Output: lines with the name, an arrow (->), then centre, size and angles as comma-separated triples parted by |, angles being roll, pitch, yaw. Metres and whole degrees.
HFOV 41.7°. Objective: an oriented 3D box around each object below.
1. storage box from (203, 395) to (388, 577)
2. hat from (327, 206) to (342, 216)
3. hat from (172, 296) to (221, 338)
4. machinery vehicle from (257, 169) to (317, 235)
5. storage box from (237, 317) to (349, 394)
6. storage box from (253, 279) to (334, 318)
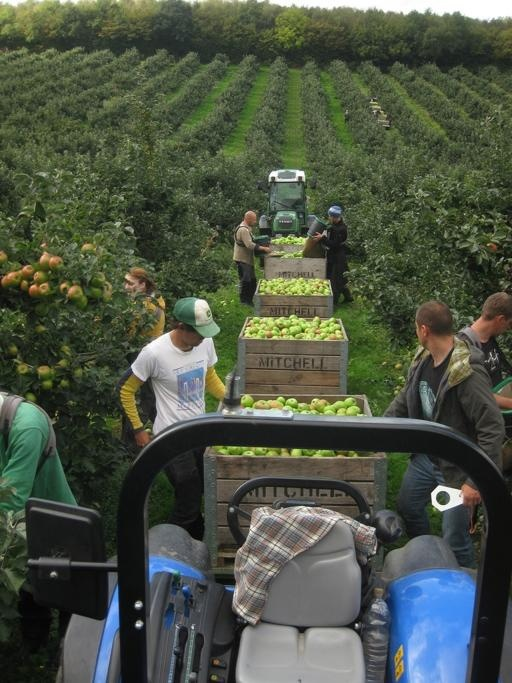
storage box -> 0.187, 1.095, 4.813 | 1.389, 0.799, 1.293 | 0, 17, 0
hat -> 1.551, -2.580, 13.358 | 0.321, 0.225, 0.305 | 3, 5, 1
hat -> -0.416, -0.145, 4.590 | 0.301, 0.291, 0.208 | -1, 14, -9
machinery vehicle -> 1.045, -4.663, 22.759 | 1.842, 1.886, 3.863 | 2, 25, 0
storage box -> 0.395, 0.167, 7.713 | 0.882, 0.508, 0.824 | 0, 17, 2
storage box -> 0.558, -0.659, 10.425 | 1.141, 0.434, 1.322 | 1, 13, 1
